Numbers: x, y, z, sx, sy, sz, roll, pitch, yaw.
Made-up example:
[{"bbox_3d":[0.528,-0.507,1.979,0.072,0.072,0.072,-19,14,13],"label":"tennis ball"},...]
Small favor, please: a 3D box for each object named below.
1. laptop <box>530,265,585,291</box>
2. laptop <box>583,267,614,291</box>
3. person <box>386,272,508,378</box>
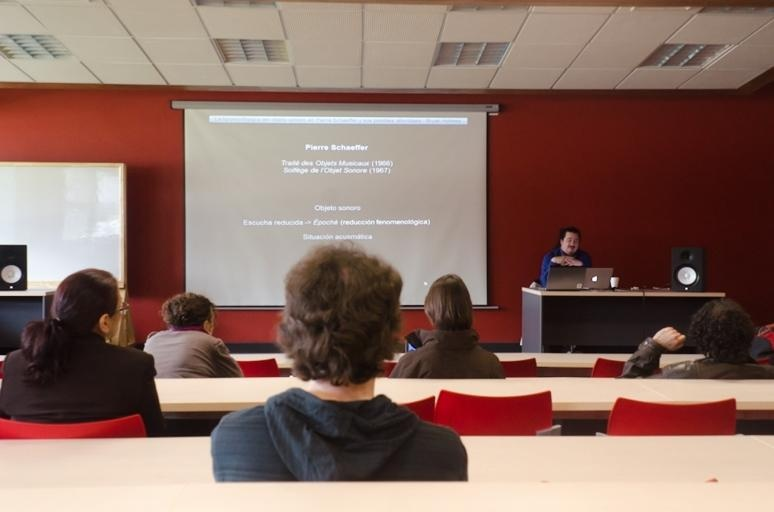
[{"bbox_3d":[1.736,0.221,5.701,0.432,0.232,0.246,1,0,-12],"label":"laptop"},{"bbox_3d":[2.067,0.222,5.740,0.301,0.199,0.214,1,10,-6],"label":"laptop"},{"bbox_3d":[0.332,0.475,3.481,0.760,0.631,0.352,3,-6,-15],"label":"person"}]
